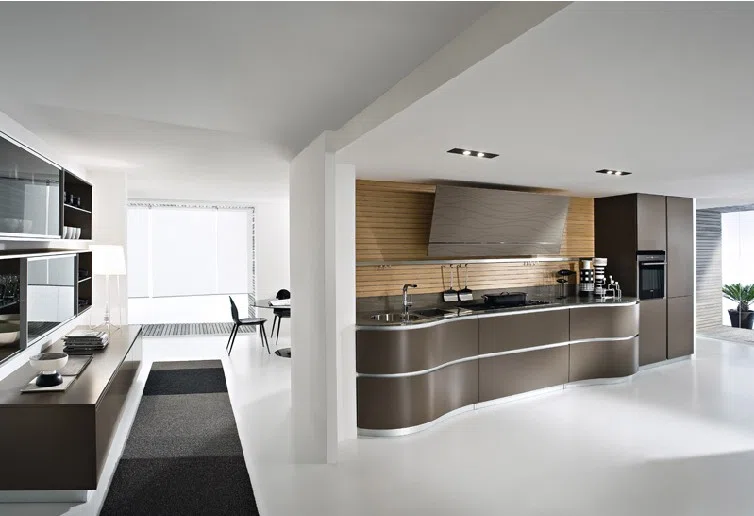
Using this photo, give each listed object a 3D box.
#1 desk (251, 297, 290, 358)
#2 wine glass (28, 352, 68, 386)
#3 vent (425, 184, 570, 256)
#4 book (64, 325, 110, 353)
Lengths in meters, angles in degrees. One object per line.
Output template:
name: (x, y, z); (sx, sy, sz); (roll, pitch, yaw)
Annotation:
desk: (-1.906, 1.231, 9.002); (1.038, 0.711, 1.024); (0, 3, -21)
wine glass: (-3.136, 1.032, 4.479); (0.285, 0.246, 0.302); (-2, 4, -40)
vent: (1.654, -0.486, 6.376); (2.082, 0.971, 0.366); (-4, 9, -25)
book: (-3.428, 0.957, 5.649); (0.309, 0.120, 0.417); (1, 3, 1)
